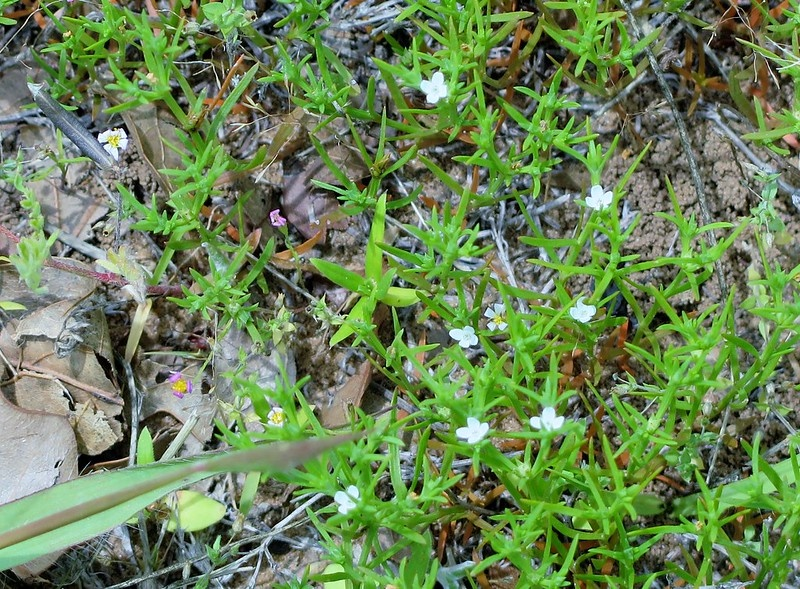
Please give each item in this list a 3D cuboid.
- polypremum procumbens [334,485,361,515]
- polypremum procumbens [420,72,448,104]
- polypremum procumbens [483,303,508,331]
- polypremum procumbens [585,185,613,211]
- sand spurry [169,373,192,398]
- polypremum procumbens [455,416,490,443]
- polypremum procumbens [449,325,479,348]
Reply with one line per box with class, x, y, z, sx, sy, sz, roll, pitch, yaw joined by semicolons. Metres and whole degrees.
polypremum procumbens;-0.124;0.501;1.949;0.060;0.058;0.064;-19;72;-16
polypremum procumbens;0.093;-0.554;2.212;0.075;0.034;0.087;-31;96;-9
polypremum procumbens;0.283;0.074;2.417;0.017;0.067;0.075;20;65;-40
polypremum procumbens;0.539;-0.254;2.177;0.059;0.038;0.073;-20;83;14
sand spurry;-0.684;0.286;2.520;0.067;0.040;0.070;-16;73;-15
polypremum procumbens;0.174;0.333;1.953;0.058;0.027;0.076;3;97;16
polypremum procumbens;0.179;0.107;2.276;0.054;0.042;0.082;14;97;-4
